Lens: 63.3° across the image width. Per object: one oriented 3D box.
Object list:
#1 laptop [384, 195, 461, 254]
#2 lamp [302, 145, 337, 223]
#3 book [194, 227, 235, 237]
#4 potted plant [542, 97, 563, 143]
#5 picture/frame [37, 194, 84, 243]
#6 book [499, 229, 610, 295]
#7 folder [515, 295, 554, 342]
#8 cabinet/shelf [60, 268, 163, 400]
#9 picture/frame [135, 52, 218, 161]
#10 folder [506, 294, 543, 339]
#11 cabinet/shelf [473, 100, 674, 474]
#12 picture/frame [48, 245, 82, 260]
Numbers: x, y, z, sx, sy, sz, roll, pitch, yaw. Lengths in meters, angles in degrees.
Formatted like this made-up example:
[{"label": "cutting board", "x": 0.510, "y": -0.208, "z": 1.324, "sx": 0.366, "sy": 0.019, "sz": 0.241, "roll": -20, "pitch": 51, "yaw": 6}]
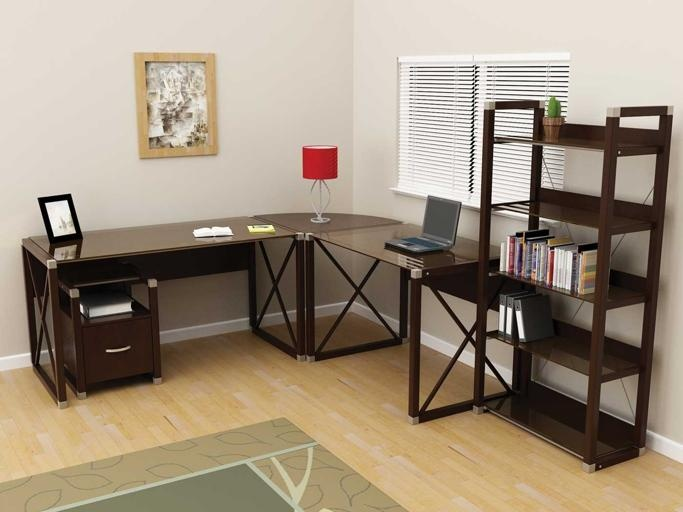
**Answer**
[{"label": "laptop", "x": 0.533, "y": -0.226, "z": 3.796, "sx": 0.409, "sy": 0.315, "sz": 0.411, "roll": -11, "pitch": 20, "yaw": -31}, {"label": "lamp", "x": -0.184, "y": -0.621, "z": 4.697, "sx": 0.279, "sy": 0.625, "sz": 0.683, "roll": -1, "pitch": 17, "yaw": -4}, {"label": "book", "x": -0.956, "y": -0.185, "z": 4.110, "sx": 0.286, "sy": 0.044, "sz": 0.234, "roll": -4, "pitch": 17, "yaw": -13}, {"label": "potted plant", "x": 1.233, "y": -0.799, "z": 3.211, "sx": 0.108, "sy": 0.242, "sz": 0.370, "roll": 7, "pitch": 18, "yaw": 20}, {"label": "picture/frame", "x": -2.027, "y": -0.266, "z": 3.958, "sx": 0.316, "sy": 0.406, "sz": 0.030, "roll": -12, "pitch": 4, "yaw": -39}, {"label": "book", "x": 1.211, "y": 0.013, "z": 3.195, "sx": 0.220, "sy": 0.266, "sz": 0.578, "roll": -11, "pitch": 20, "yaw": -33}, {"label": "folder", "x": 1.167, "y": 0.378, "z": 3.484, "sx": 0.266, "sy": 0.271, "sz": 0.267, "roll": -1, "pitch": -3, "yaw": -36}, {"label": "cabinet/shelf", "x": -1.631, "y": 0.442, "z": 4.115, "sx": 0.801, "sy": 1.078, "sz": 0.844, "roll": -4, "pitch": 9, "yaw": -31}, {"label": "picture/frame", "x": -1.337, "y": -1.204, "z": 4.380, "sx": 0.838, "sy": 1.042, "sz": 0.046, "roll": -5, "pitch": 12, "yaw": -26}, {"label": "folder", "x": 1.141, "y": 0.372, "z": 3.510, "sx": 0.161, "sy": 0.280, "sz": 0.307, "roll": 7, "pitch": 15, "yaw": 35}, {"label": "cabinet/shelf", "x": 1.329, "y": 0.117, "z": 3.218, "sx": 0.637, "sy": 1.933, "sz": 1.051, "roll": -12, "pitch": 21, "yaw": -35}, {"label": "picture/frame", "x": -1.820, "y": -0.025, "z": 3.666, "sx": 0.143, "sy": 0.087, "sz": 0.140, "roll": -4, "pitch": 5, "yaw": -37}]
